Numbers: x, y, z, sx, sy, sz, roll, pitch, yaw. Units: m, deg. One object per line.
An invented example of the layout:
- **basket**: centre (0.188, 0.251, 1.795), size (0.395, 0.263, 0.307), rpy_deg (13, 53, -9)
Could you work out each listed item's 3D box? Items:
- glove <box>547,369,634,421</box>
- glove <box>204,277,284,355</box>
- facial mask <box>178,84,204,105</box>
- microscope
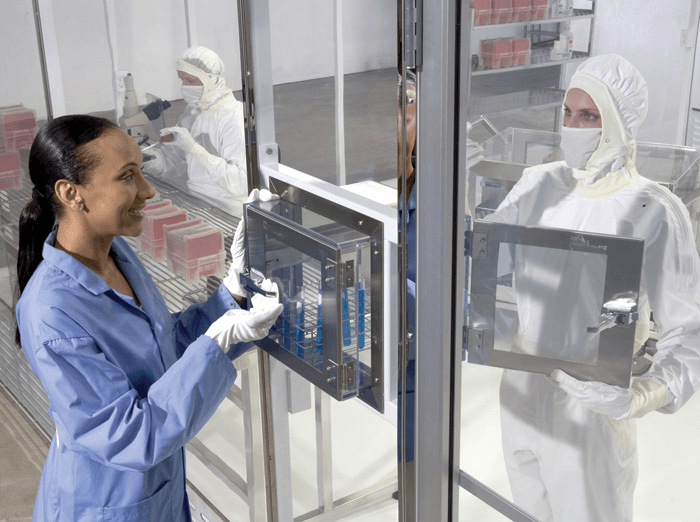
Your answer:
- **glove**: centre (0.465, 0.260, 1.377), size (0.155, 0.068, 0.119), rpy_deg (4, 2, 31)
- **glove**: centre (-0.260, 0.150, 1.794), size (0.163, 0.191, 0.193), rpy_deg (15, 19, 31)
- **facial mask**: centre (-0.503, -0.532, 2.178), size (0.059, 0.045, 0.076), rpy_deg (18, 32, 32)
- **microscope**: centre (-0.757, -0.511, 2.468), size (0.136, 0.352, 0.228), rpy_deg (-12, 26, -27)
